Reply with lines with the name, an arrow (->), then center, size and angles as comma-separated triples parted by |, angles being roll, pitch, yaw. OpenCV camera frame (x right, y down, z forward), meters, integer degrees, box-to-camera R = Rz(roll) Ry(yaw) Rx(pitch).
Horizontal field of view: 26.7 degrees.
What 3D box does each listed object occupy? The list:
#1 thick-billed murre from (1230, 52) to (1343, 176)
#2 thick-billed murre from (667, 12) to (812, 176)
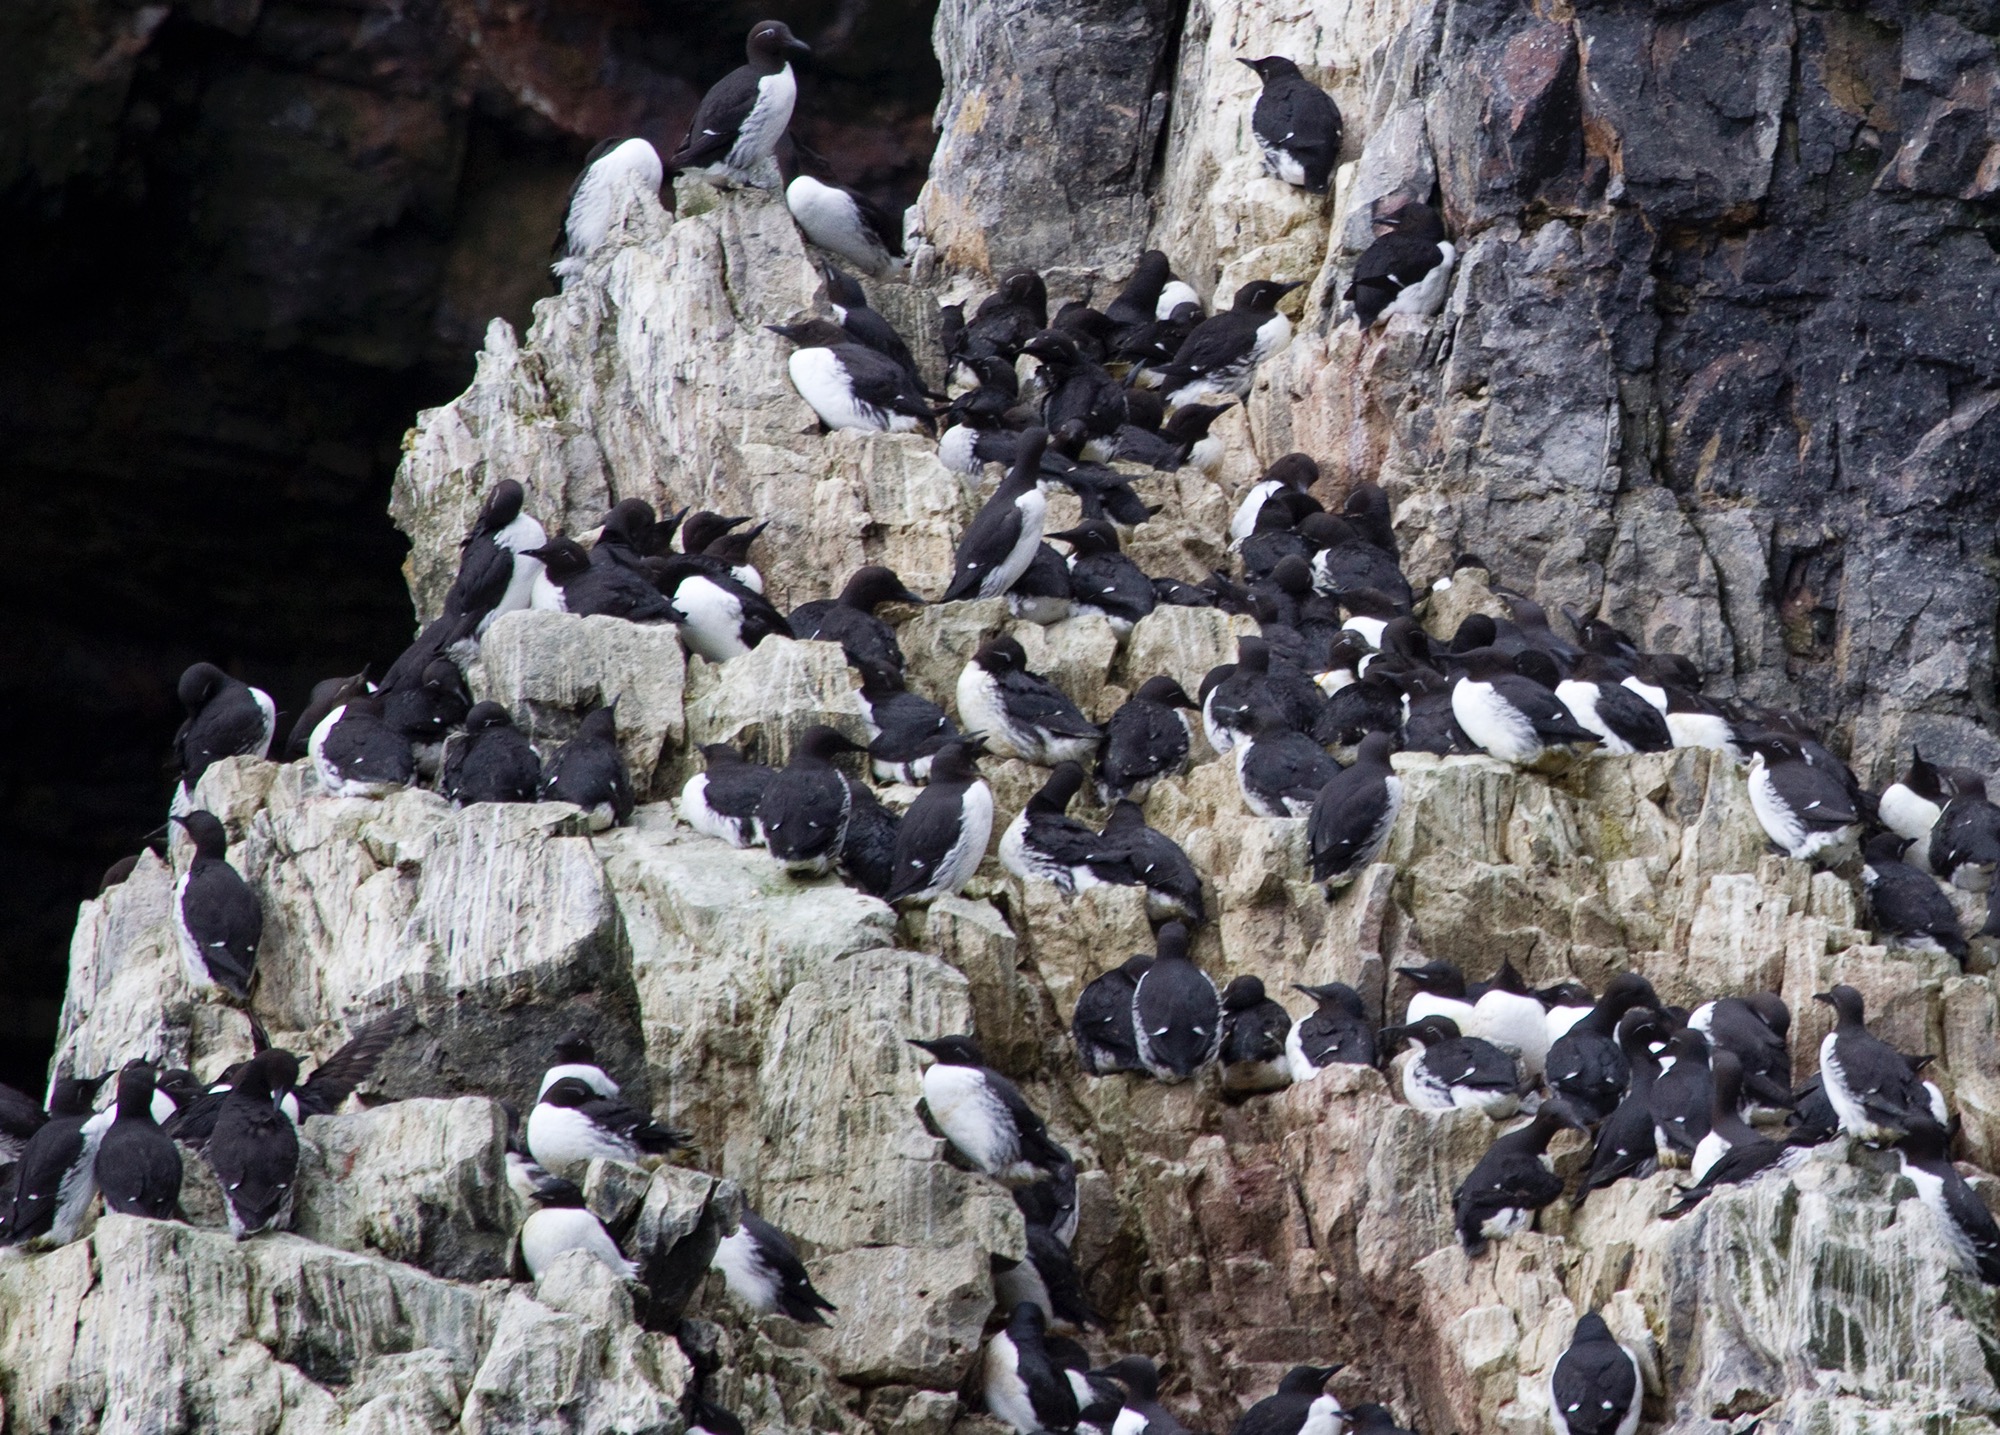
thick-billed murre -> 2.248, -4.840, 33.529 | 0.575, 1.095, 0.783 | -27, -41, 19
thick-billed murre -> -1.894, -4.574, 30.931 | 0.812, 1.199, 0.427 | 4, -8, -2
